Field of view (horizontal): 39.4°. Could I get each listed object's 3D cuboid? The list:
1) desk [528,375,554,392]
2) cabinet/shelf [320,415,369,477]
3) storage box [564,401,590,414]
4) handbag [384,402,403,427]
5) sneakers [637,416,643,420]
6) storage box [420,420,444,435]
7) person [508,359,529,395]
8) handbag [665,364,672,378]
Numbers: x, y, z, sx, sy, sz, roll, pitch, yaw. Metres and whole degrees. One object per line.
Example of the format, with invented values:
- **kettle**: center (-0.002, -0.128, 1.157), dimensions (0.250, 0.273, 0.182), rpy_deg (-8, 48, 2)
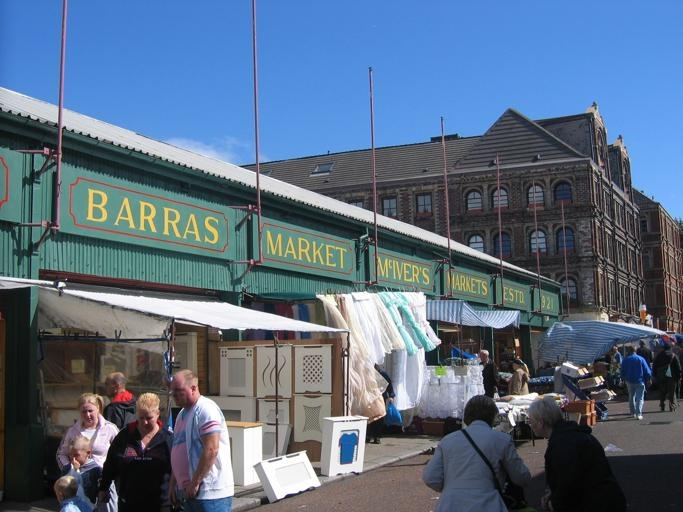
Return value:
- **desk**: center (6.385, 4.105, 30.618), dimensions (0.738, 0.374, 0.793), rpy_deg (-2, -5, 33)
- **cabinet/shelf**: center (0.040, 3.611, 18.107), dimensions (0.796, 1.073, 0.387), rpy_deg (6, -9, -21)
- **storage box**: center (5.607, 3.562, 22.606), dimensions (0.307, 0.229, 0.440), rpy_deg (-2, -5, 31)
- **handbag**: center (1.174, 3.573, 21.563), dimensions (0.325, 0.827, 0.537), rpy_deg (-10, -15, 6)
- **sneakers**: center (7.916, 4.266, 25.282), dimensions (0.098, 0.054, 0.143), rpy_deg (-1, -4, 5)
- **storage box**: center (2.103, 3.959, 22.054), dimensions (0.371, 0.260, 0.337), rpy_deg (-1, -10, 23)
- **person**: center (4.458, 3.017, 24.020), dimensions (0.486, 1.063, 1.613), rpy_deg (-5, -14, 10)
- **handbag**: center (9.251, 3.263, 26.938), dimensions (0.219, 0.435, 0.223), rpy_deg (2, -7, 10)
